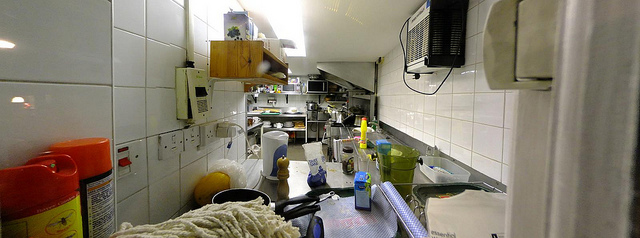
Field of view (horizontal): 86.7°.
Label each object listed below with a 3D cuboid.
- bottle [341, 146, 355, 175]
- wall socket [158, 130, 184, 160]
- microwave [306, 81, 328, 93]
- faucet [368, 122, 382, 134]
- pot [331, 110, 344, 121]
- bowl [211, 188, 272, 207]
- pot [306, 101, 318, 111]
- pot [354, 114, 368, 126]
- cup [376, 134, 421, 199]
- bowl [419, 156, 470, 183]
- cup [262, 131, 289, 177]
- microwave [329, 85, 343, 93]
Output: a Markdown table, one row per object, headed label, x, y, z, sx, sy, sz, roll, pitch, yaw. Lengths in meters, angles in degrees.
| label | x | y | z | sx | sy | sz | roll | pitch | yaw |
| --- | --- | --- | --- | --- | --- | --- | --- | --- | --- |
| bottle | 0.254 | 0.370 | 3.038 | 0.101 | 0.246 | 0.107 | 1 | -16 | 0 |
| wall socket | -1.099 | 0.202 | 2.657 | 0.269 | 0.186 | 0.119 | -21 | -23 | 30 |
| microwave | -0.043 | -0.607 | 6.331 | 0.474 | 0.193 | 0.230 | 0 | -4 | 2 |
| faucet | 0.778 | 0.110 | 4.660 | 0.146 | 0.207 | 0.278 | 1 | -13 | 0 |
| pot | 0.294 | -0.051 | 5.436 | 0.226 | 0.144 | 0.189 | 0 | 7 | 3 |
| bowl | -0.588 | 0.585 | 2.591 | 0.441 | 0.116 | 0.209 | 0 | -12 | 1 |
| pot | -0.150 | -0.247 | 6.427 | 0.234 | 0.109 | 0.138 | 0 | -1 | -8 |
| pot | 0.632 | 0.017 | 5.069 | 0.198 | 0.096 | 0.167 | 1 | 5 | 21 |
| cup | 0.522 | 0.396 | 2.904 | 0.576 | 0.409 | 0.450 | 5 | 3 | 8 |
| bowl | 1.092 | 0.442 | 3.044 | 0.360 | 0.252 | 0.343 | 1 | -13 | 0 |
| cup | -0.396 | 0.287 | 2.928 | 0.211 | 0.404 | 0.226 | 1 | -15 | 0 |
| microwave | 0.316 | -0.570 | 6.364 | 0.284 | 0.196 | 0.143 | -4 | -16 | 20 |
